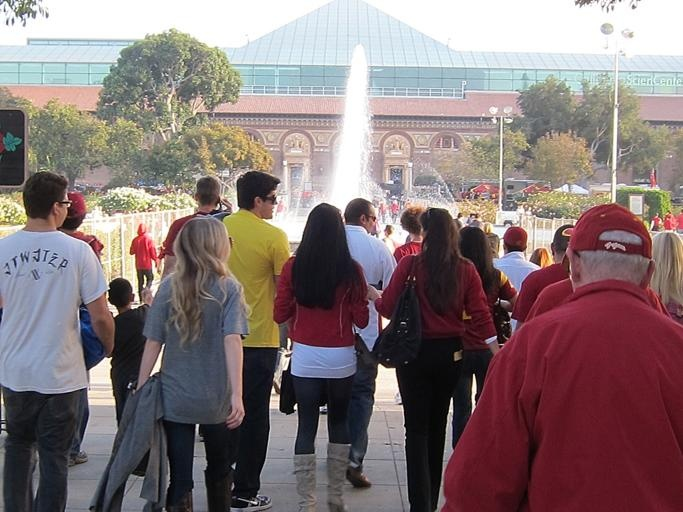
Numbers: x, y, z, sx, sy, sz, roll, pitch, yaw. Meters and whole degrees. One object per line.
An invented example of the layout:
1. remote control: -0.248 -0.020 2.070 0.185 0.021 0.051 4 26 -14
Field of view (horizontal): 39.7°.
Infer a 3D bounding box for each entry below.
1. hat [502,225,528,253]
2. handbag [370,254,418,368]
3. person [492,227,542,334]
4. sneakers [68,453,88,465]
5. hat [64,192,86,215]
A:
1. hat: 1.455 -0.142 7.846 0.148 0.133 0.232 2 18 1
2. handbag: 0.357 0.364 6.286 0.250 0.745 0.551 12 -20 2
3. person: 1.466 0.319 8.048 0.408 1.167 0.376 3 9 1
4. sneakers: -1.972 1.511 7.050 0.136 0.071 0.059 -21 41 -32
5. hat: -1.874 -0.372 6.657 0.141 0.180 0.211 1 17 -10
